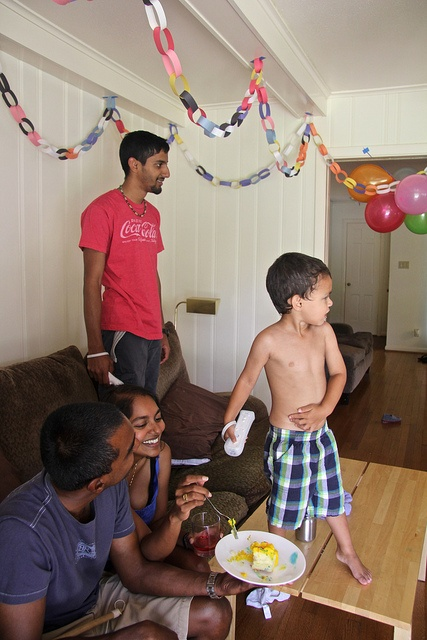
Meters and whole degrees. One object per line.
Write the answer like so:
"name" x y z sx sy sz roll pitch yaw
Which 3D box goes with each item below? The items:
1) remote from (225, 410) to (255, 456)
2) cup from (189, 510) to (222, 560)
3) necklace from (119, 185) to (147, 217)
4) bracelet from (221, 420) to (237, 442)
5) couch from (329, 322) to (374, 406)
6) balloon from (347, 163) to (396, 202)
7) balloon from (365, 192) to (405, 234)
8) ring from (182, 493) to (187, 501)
"remote" 0.103 0.364 1.537 0.070 0.054 0.179 1 51 37
"cup" -0.022 0.636 1.371 0.108 0.127 0.121 0 1 0
"necklace" -0.370 -0.520 1.988 0.010 0.147 0.118 -24 9 32
"bracelet" 0.058 0.377 1.540 0.060 0.080 0.029 1 -8 -9
"couch" 1.341 0.430 4.313 0.270 0.363 0.855 0 9 15
"balloon" 1.109 -1.025 3.263 0.231 0.287 0.149 24 48 0
"balloon" 1.259 -0.767 3.284 0.360 0.270 0.261 -5 6 -25
"ring" -0.068 0.426 1.092 0.004 0.013 0.013 1 4 -19
